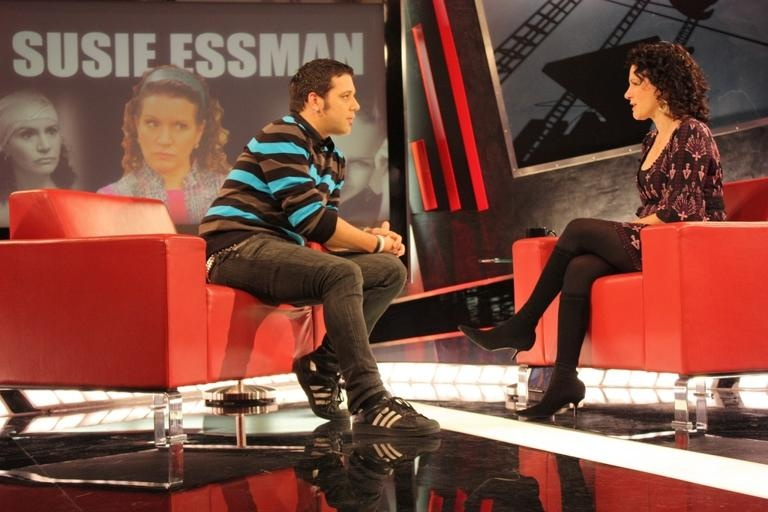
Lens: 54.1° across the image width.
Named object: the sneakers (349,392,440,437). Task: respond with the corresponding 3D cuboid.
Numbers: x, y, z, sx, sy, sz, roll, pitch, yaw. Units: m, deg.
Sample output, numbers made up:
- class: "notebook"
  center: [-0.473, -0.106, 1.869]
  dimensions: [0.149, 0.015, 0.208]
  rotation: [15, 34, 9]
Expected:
- class: "sneakers"
  center: [0.033, 0.622, 2.914]
  dimensions: [0.357, 0.139, 0.145]
  rotation: [0, -3, -2]
